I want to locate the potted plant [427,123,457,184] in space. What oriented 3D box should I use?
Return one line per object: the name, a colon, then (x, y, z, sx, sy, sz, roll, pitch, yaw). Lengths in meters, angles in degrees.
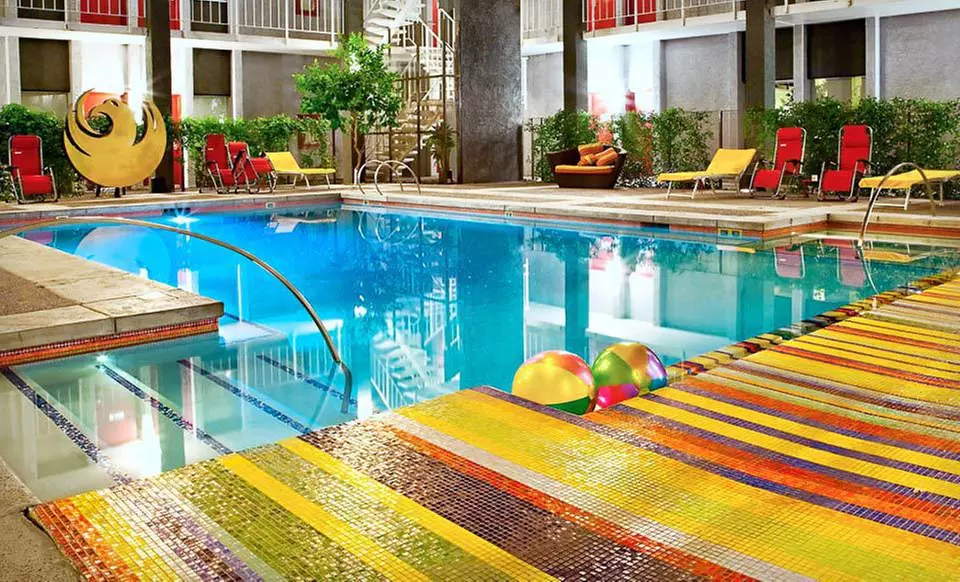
potted plant: (-1.043, -3.781, 18.139, 0.777, 1.596, 0.412, 0, 12, 10)
